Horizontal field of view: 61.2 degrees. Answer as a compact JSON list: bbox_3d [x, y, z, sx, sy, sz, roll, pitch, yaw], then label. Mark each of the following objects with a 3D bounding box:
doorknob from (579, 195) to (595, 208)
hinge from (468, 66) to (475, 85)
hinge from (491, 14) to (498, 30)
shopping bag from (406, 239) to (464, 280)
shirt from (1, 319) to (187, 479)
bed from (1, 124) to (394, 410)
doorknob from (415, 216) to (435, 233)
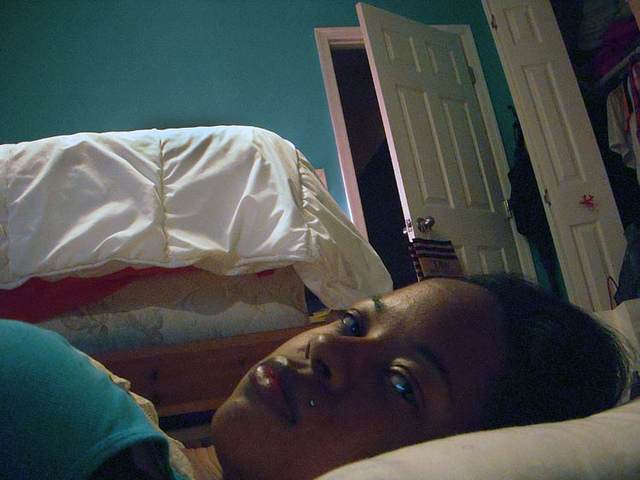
[{"bbox_3d":[1.370,-0.202,2.774,0.102,0.067,0.029,-8,4,-25],"label":"doorknob"},{"bbox_3d":[0.994,-1.087,3.555,0.036,0.119,0.069,-4,4,17],"label":"hinge"},{"bbox_3d":[0.972,-1.222,3.022,0.037,0.067,0.014,-13,2,-40],"label":"hinge"},{"bbox_3d":[0.439,0.065,2.092,0.177,0.245,0.072,6,-42,-3],"label":"shopping bag"},{"bbox_3d":[-0.222,0.146,0.477,0.161,0.142,0.082,-4,4,28],"label":"shirt"},{"bbox_3d":[-0.285,0.015,1.256,0.717,0.390,0.568,14,-17,-22],"label":"bed"},{"bbox_3d":[0.518,-0.076,2.643,0.049,0.077,0.125,-2,6,43],"label":"doorknob"}]
